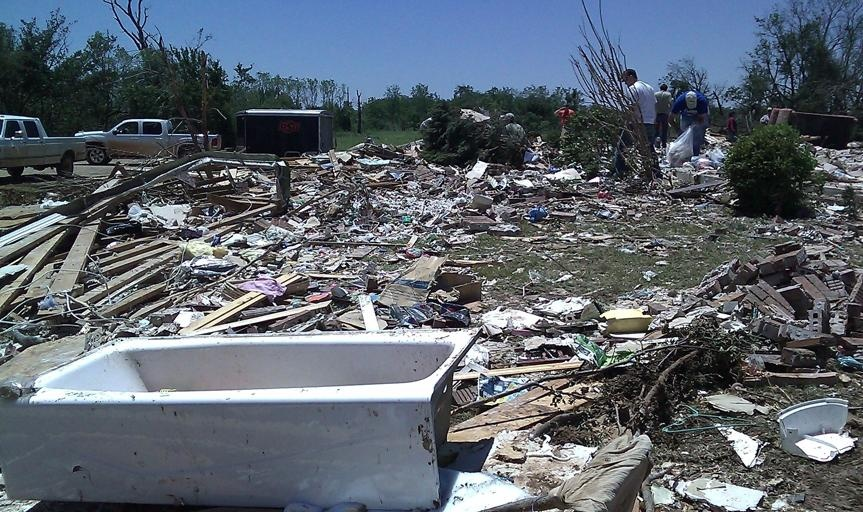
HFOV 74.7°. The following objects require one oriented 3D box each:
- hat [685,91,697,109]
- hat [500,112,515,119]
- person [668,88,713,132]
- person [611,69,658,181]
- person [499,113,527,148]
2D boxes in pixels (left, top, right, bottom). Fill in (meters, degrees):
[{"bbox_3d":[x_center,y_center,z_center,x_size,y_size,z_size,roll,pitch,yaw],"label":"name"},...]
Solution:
[{"bbox_3d":[6.821,-4.094,14.842,0.361,0.450,0.273,-7,13,-30],"label":"hat"},{"bbox_3d":[2.316,-4.292,17.397,0.436,0.182,0.516,1,9,12],"label":"hat"},{"bbox_3d":[6.997,-3.994,15.283,0.908,1.087,1.238,4,11,20],"label":"person"},{"bbox_3d":[5.239,-3.346,14.338,1.049,2.710,0.796,2,12,14],"label":"person"},{"bbox_3d":[2.469,-3.785,17.019,0.833,1.018,1.128,1,11,8],"label":"person"}]
